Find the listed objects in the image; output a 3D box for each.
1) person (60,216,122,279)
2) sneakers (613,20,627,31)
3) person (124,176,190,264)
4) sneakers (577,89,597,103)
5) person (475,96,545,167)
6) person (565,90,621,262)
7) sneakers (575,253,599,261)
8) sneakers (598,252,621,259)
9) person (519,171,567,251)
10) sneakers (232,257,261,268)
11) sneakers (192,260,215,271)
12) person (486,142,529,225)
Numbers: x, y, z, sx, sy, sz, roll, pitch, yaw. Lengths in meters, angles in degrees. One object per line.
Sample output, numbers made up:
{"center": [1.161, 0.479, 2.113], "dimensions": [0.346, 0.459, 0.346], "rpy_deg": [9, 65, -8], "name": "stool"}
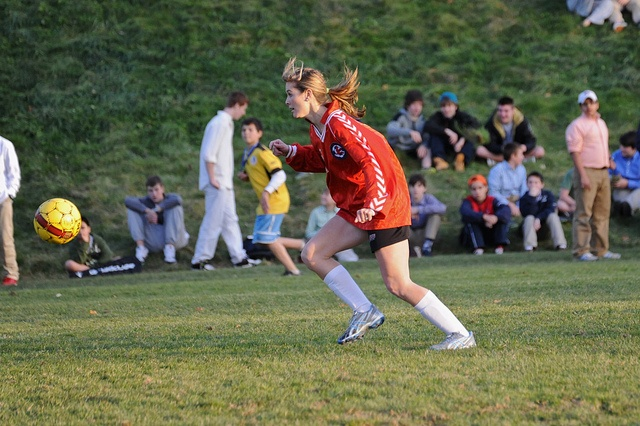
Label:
{"center": [-4.776, 0.691, 24.191], "dimensions": [1.078, 1.287, 0.803], "rpy_deg": [-4, 17, 23], "name": "person"}
{"center": [6.943, -4.330, 27.199], "dimensions": [0.249, 0.178, 0.247], "rpy_deg": [-27, 13, -10], "name": "sneakers"}
{"center": [-3.403, 0.171, 24.426], "dimensions": [1.205, 1.827, 0.745], "rpy_deg": [-4, -2, 0], "name": "person"}
{"center": [5.139, -2.248, 22.694], "dimensions": [0.251, 0.161, 0.372], "rpy_deg": [-6, 0, 8], "name": "sneakers"}
{"center": [4.075, -1.812, 25.187], "dimensions": [1.467, 1.400, 0.895], "rpy_deg": [-3, 19, 14], "name": "person"}
{"center": [5.387, -0.739, 22.853], "dimensions": [1.105, 3.347, 0.927], "rpy_deg": [-2, 1, -28], "name": "person"}
{"center": [5.252, 0.868, 23.115], "dimensions": [0.393, 0.159, 0.158], "rpy_deg": [-3, 0, 19], "name": "sneakers"}
{"center": [5.722, 0.853, 23.246], "dimensions": [0.415, 0.180, 0.149], "rpy_deg": [-2, 7, 6], "name": "sneakers"}
{"center": [4.599, -0.032, 24.452], "dimensions": [0.875, 1.270, 0.449], "rpy_deg": [-4, -2, 10], "name": "person"}
{"center": [-1.510, 1.057, 24.501], "dimensions": [0.570, 0.242, 0.188], "rpy_deg": [-10, 11, -24], "name": "sneakers"}
{"center": [-2.394, 1.079, 24.021], "dimensions": [0.558, 0.244, 0.188], "rpy_deg": [0, 3, -8], "name": "sneakers"}
{"center": [4.021, -0.710, 24.571], "dimensions": [1.098, 1.418, 1.103], "rpy_deg": [12, 24, 27], "name": "person"}
